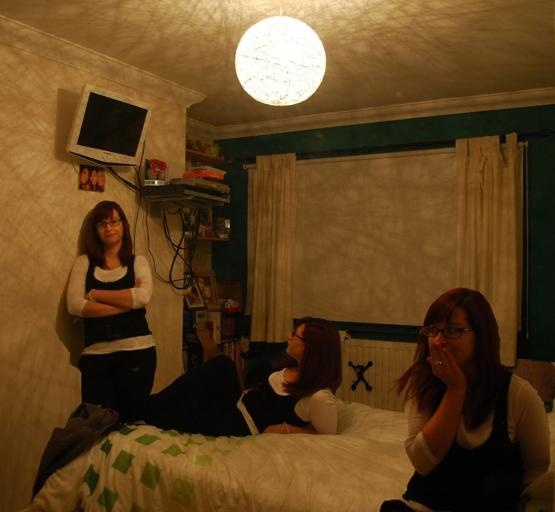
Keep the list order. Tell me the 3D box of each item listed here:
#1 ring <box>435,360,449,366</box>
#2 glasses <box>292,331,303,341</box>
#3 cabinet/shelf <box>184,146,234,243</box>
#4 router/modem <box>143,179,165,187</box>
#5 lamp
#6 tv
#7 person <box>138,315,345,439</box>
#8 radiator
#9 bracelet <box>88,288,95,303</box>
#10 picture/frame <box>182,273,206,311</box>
[{"bbox_3d":[0.545,0.354,1.740,0.044,0.013,0.012,-3,-4,36],"label":"ring"},{"bbox_3d":[0.101,0.407,2.729,0.049,0.065,0.043,5,2,16],"label":"glasses"},{"bbox_3d":[-0.592,-0.529,4.462,0.248,0.814,0.804,-3,-6,15],"label":"cabinet/shelf"},{"bbox_3d":[-0.863,-0.513,3.690,0.150,0.064,0.103,3,-3,-15],"label":"router/modem"},{"bbox_3d":[0.011,-0.952,2.606,0.440,0.301,0.344,2,-3,14],"label":"lamp"},{"bbox_3d":[-1.099,-0.822,3.331,0.074,0.547,0.554,18,4,32],"label":"tv"},{"bbox_3d":[-0.228,0.583,2.718,1.076,0.671,0.586,1,21,-3],"label":"person"},{"bbox_3d":[0.823,0.993,4.364,0.624,0.599,0.039,5,10,9],"label":"radiator"},{"bbox_3d":[-1.087,0.229,3.057,0.013,0.055,0.052,15,-30,-40],"label":"bracelet"},{"bbox_3d":[-0.737,0.320,4.574,0.029,0.283,0.315,-17,0,11],"label":"picture/frame"}]
